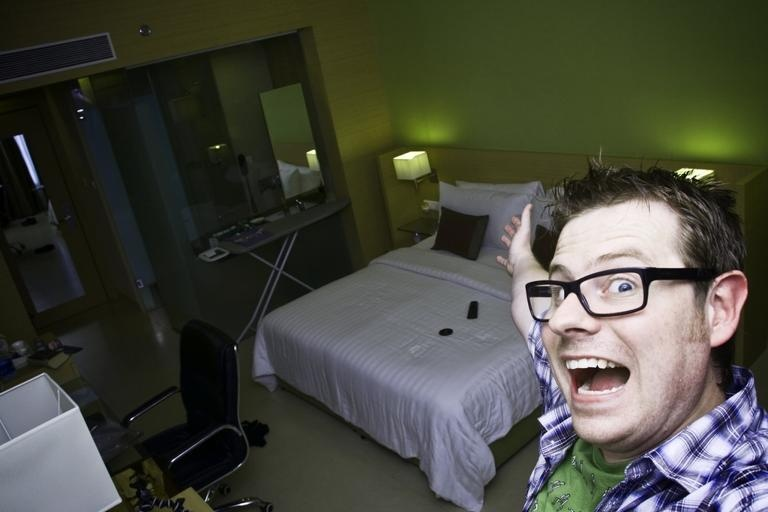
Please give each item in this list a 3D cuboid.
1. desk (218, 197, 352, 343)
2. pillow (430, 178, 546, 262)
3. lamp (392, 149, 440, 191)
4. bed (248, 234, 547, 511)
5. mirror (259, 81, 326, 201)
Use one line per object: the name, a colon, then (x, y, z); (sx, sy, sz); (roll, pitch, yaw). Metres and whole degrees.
desk: (-1.031, 0.125, 5.248); (0.474, 0.816, 1.256); (22, 41, 34)
pillow: (0.921, -0.434, 4.793); (0.749, 0.647, 0.232); (4, -9, 41)
lamp: (0.317, -0.911, 5.837); (0.382, 0.388, 0.371); (-35, 24, -34)
bed: (0.488, 0.592, 3.921); (1.683, 0.614, 1.698); (17, 42, 37)
mirror: (-0.971, -1.228, 5.561); (0.735, 1.447, 0.024); (-31, 32, -34)
